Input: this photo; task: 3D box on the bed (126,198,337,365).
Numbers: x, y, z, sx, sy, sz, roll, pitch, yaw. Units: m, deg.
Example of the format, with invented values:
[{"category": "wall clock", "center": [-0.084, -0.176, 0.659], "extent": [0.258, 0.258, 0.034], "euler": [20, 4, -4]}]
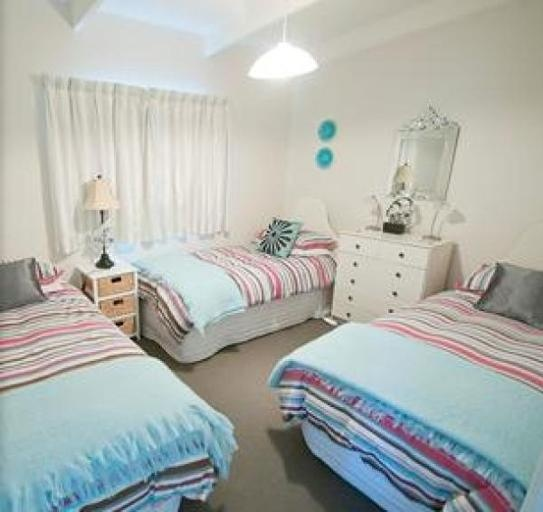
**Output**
[{"category": "bed", "center": [-0.290, 0.170, 2.984], "extent": [1.107, 0.798, 0.874], "euler": [-12, 22, -35]}]

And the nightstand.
[{"category": "nightstand", "center": [-0.965, 0.273, 2.471], "extent": [0.301, 0.507, 0.295], "euler": [17, 24, 41]}]

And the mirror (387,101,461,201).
[{"category": "mirror", "center": [1.074, -0.709, 2.910], "extent": [0.065, 0.624, 0.451], "euler": [-10, 19, -40]}]

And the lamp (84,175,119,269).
[{"category": "lamp", "center": [-1.133, -0.242, 2.802], "extent": [0.216, 0.598, 0.345], "euler": [-4, 16, -23]}]

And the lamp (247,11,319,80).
[{"category": "lamp", "center": [0.060, -0.958, 1.905], "extent": [0.214, 0.259, 0.236], "euler": [-10, 24, -24]}]
